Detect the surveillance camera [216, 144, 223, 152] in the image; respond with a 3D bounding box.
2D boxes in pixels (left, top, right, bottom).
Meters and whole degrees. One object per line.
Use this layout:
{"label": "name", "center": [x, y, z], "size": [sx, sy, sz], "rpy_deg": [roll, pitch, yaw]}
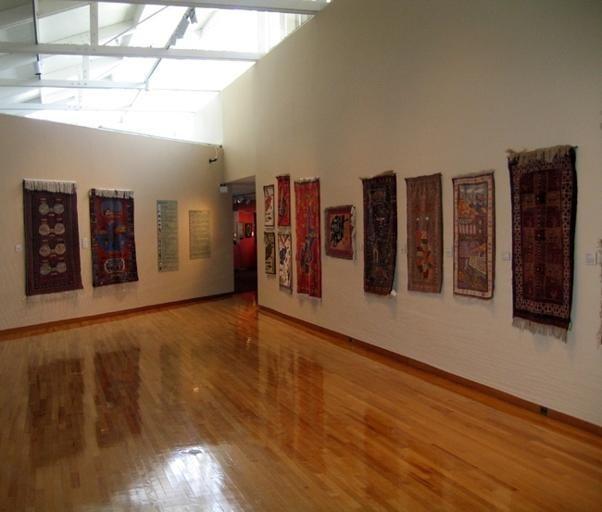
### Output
{"label": "surveillance camera", "center": [-1.934, -2.550, 11.091], "size": [0.176, 0.203, 0.132], "rpy_deg": [2, -7, -37]}
